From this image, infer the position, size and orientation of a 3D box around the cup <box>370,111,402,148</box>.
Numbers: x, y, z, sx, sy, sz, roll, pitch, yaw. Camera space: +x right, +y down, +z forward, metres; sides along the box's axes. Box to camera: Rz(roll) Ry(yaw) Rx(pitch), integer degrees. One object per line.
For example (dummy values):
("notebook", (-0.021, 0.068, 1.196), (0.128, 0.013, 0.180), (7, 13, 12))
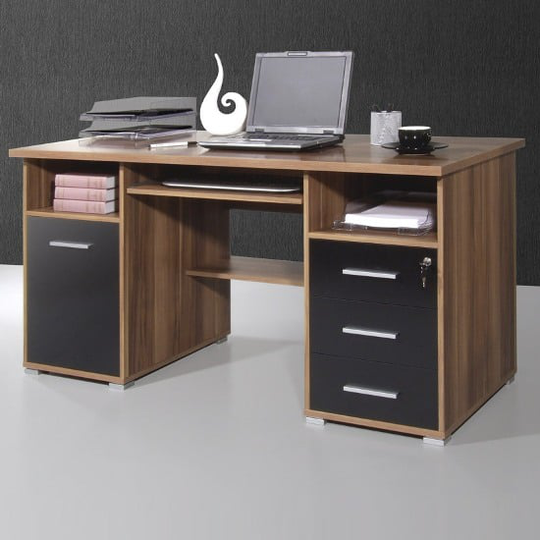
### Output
("cup", (0.421, -0.520, 2.238), (0.135, 0.160, 0.148), (1, 3, 0))

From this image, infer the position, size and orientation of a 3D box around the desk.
("desk", (-0.034, -0.026, 2.302), (1.701, 0.955, 0.764), (4, 10, 27))

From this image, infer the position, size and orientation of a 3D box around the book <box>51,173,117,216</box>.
("book", (-0.703, -0.291, 2.310), (0.209, 0.129, 0.165), (4, 9, 19))

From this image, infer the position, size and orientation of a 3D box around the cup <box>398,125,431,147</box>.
("cup", (0.467, -0.430, 1.978), (0.099, 0.069, 0.119), (1, 10, 12))

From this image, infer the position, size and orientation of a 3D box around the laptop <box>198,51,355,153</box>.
("laptop", (0.039, -0.657, 2.311), (0.568, 0.448, 0.508), (7, 14, 31))
